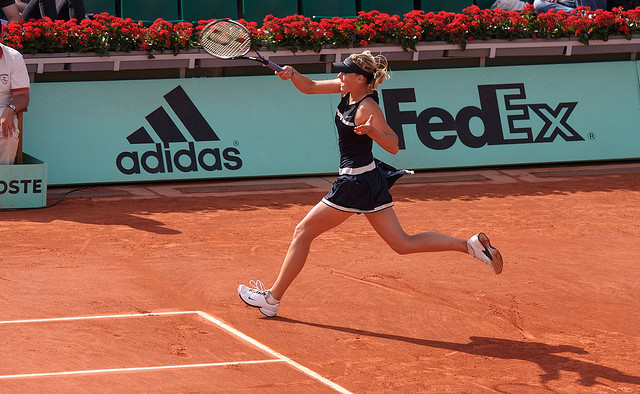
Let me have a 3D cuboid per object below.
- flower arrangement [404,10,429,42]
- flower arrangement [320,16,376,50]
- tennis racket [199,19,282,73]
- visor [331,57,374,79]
[{"bbox_3d":[2.017,-3.536,11.650,0.508,0.650,0.427,0,9,7],"label":"flower arrangement"},{"bbox_3d":[0.615,-3.343,11.477,1.046,0.645,0.308,-2,9,-7],"label":"flower arrangement"},{"bbox_3d":[-0.946,-1.783,6.691,1.380,0.447,0.105,27,12,18],"label":"tennis racket"},{"bbox_3d":[0.360,-1.373,6.066,0.354,0.097,0.211,19,8,-13],"label":"visor"}]
